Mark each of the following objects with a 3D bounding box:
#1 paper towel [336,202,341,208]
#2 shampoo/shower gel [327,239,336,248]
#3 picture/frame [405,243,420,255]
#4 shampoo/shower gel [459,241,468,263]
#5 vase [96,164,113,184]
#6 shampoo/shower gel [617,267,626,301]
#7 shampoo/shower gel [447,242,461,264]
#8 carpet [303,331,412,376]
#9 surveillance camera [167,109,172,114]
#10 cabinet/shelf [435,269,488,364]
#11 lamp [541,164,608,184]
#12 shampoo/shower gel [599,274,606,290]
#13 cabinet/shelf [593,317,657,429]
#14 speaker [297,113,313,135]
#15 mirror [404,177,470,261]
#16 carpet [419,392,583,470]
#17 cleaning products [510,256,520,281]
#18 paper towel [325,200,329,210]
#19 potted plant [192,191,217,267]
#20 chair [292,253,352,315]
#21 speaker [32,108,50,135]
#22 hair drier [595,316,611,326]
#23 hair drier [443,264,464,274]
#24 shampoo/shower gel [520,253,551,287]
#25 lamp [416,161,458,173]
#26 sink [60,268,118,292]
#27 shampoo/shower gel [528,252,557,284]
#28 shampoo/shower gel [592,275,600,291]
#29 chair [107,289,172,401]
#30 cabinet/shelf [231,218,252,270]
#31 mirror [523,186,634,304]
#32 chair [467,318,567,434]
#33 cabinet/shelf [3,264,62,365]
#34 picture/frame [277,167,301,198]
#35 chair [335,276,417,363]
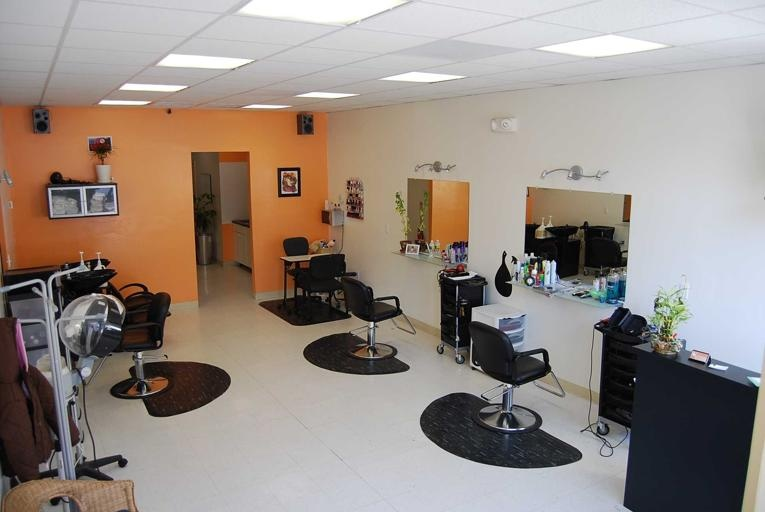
[{"bbox_3d":[-0.828,-0.940,9.686,0.080,0.096,0.143,2,-2,-29],"label":"paper towel"},{"bbox_3d":[-0.962,-0.244,9.865,0.109,0.141,0.139,-7,-26,-14],"label":"shampoo/shower gel"},{"bbox_3d":[0.459,-0.104,7.970,0.160,0.133,0.015,12,-1,20],"label":"picture/frame"},{"bbox_3d":[1.139,-0.059,7.340,0.096,0.295,0.069,1,9,14],"label":"shampoo/shower gel"},{"bbox_3d":[-4.338,-1.272,8.130,0.220,0.299,0.174,-5,10,-27],"label":"vase"},{"bbox_3d":[2.600,0.302,5.655,0.040,0.356,0.094,-6,10,-32],"label":"shampoo/shower gel"},{"bbox_3d":[1.000,-0.047,7.391,0.261,0.303,0.119,5,10,32],"label":"shampoo/shower gel"},{"bbox_3d":[-0.446,1.376,7.214,1.063,0.161,1.625,-8,11,-42],"label":"carpet"},{"bbox_3d":[-3.466,-2.341,8.484,0.063,0.113,0.063,-7,13,-31],"label":"surveillance camera"},{"bbox_3d":[1.045,0.774,6.791,0.483,1.134,1.183,0,4,-20],"label":"cabinet/shelf"},{"bbox_3d":[2.196,-0.930,5.967,0.656,0.178,0.118,3,-4,39],"label":"lamp"},{"bbox_3d":[2.441,0.299,5.800,0.076,0.174,0.102,-6,10,-32],"label":"shampoo/shower gel"},{"bbox_3d":[2.442,1.205,5.358,0.497,1.234,0.489,-8,11,-40],"label":"cabinet/shelf"},{"bbox_3d":[-1.410,-2.392,9.485,0.326,0.372,0.181,-3,9,-17],"label":"speaker"},{"bbox_3d":[0.833,-0.539,7.624,0.653,1.203,1.160,-5,7,-39],"label":"mirror"},{"bbox_3d":[1.104,1.861,5.452,1.625,0.229,0.944,7,11,43],"label":"carpet"},{"bbox_3d":[1.672,0.155,6.588,0.082,0.289,0.224,0,9,6],"label":"cleaning products"},{"bbox_3d":[-1.049,-0.960,9.799,0.100,0.163,0.228,-2,8,-6],"label":"paper towel"},{"bbox_3d":[-4.182,-0.652,12.213,0.406,1.664,0.809,-9,12,-44],"label":"potted plant"},{"bbox_3d":[-1.088,0.430,8.890,1.071,1.341,0.948,-4,15,-21],"label":"chair"},{"bbox_3d":[-5.010,-1.981,7.660,0.247,0.370,0.207,-6,10,-32],"label":"speaker"},{"bbox_3d":[2.333,0.701,5.502,0.162,0.059,0.108,-19,22,-37],"label":"hair drier"},{"bbox_3d":[0.999,0.185,7.216,0.201,0.077,0.171,-3,6,-17],"label":"hair drier"},{"bbox_3d":[1.869,0.175,6.361,0.176,0.363,0.373,-5,8,-41],"label":"shampoo/shower gel"},{"bbox_3d":[0.740,-1.287,7.595,0.107,0.160,0.849,-6,10,-33],"label":"lamp"},{"bbox_3d":[-3.962,0.341,7.041,0.632,0.334,0.435,-6,10,-32],"label":"sink"},{"bbox_3d":[1.930,0.183,6.318,0.293,0.385,0.357,-1,1,-19],"label":"shampoo/shower gel"},{"bbox_3d":[2.392,0.307,5.860,0.055,0.145,0.126,1,9,10],"label":"shampoo/shower gel"},{"bbox_3d":[-3.031,1.046,6.485,0.703,1.201,1.529,-5,9,-28],"label":"chair"},{"bbox_3d":[-3.105,-0.306,11.516,0.588,1.043,1.104,-2,5,-27],"label":"cabinet/shelf"},{"bbox_3d":[2.271,-0.135,5.939,0.025,1.269,1.272,-13,17,-40],"label":"mirror"},{"bbox_3d":[1.394,1.195,6.166,1.257,1.407,0.986,-5,10,-27],"label":"chair"},{"bbox_3d":[-4.450,0.751,6.698,0.613,1.090,1.254,-6,10,-32],"label":"cabinet/shelf"},{"bbox_3d":[-1.730,-1.365,9.548,0.549,0.620,0.044,-4,12,-32],"label":"picture/frame"},{"bbox_3d":[-0.082,0.797,7.627,1.169,1.301,0.960,-5,11,-34],"label":"chair"}]
